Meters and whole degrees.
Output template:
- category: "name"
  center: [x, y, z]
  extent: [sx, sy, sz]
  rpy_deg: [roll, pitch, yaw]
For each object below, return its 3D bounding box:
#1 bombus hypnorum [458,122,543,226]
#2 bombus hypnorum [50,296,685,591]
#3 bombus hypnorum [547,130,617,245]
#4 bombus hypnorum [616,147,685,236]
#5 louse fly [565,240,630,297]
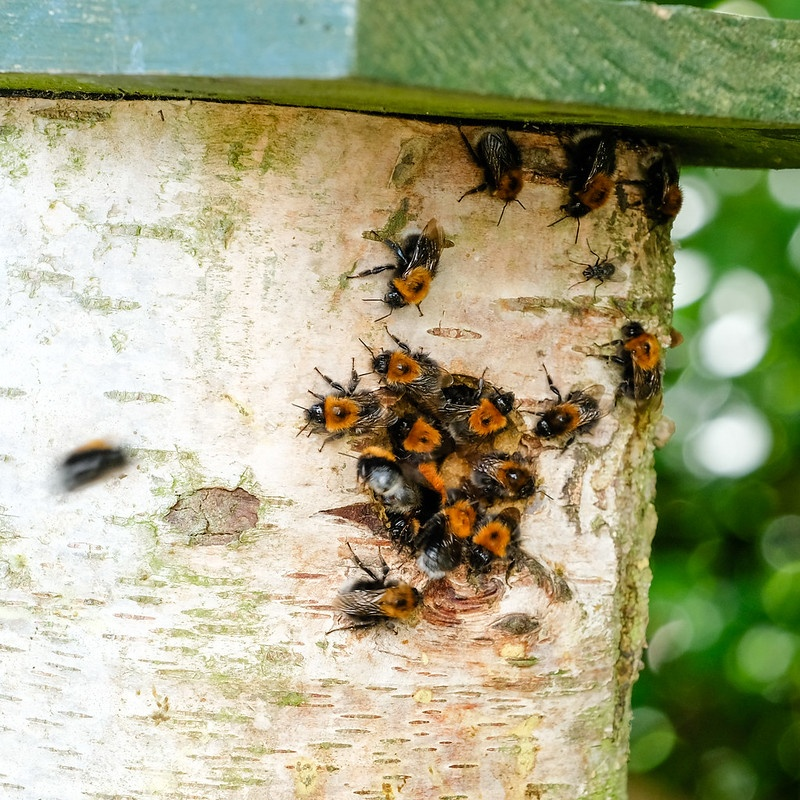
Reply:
- category: "bombus hypnorum"
  center: [0.293, -0.668, 5.714]
  extent: [0.207, 0.088, 0.227]
  rpy_deg: [-6, 81, -31]
- category: "bombus hypnorum"
  center: [-0.045, -0.005, 5.854]
  extent: [1.145, 1.335, 0.840]
  rpy_deg: [2, 104, 8]
- category: "bombus hypnorum"
  center: [0.550, -0.639, 5.785]
  extent: [0.169, 0.204, 0.312]
  rpy_deg: [7, 57, 6]
- category: "bombus hypnorum"
  center: [0.733, -0.638, 5.909]
  extent: [0.246, 0.248, 0.228]
  rpy_deg: [-1, 98, 4]
- category: "louse fly"
  center: [0.585, -0.388, 5.811]
  extent: [0.160, 0.098, 0.130]
  rpy_deg: [4, 57, 4]
